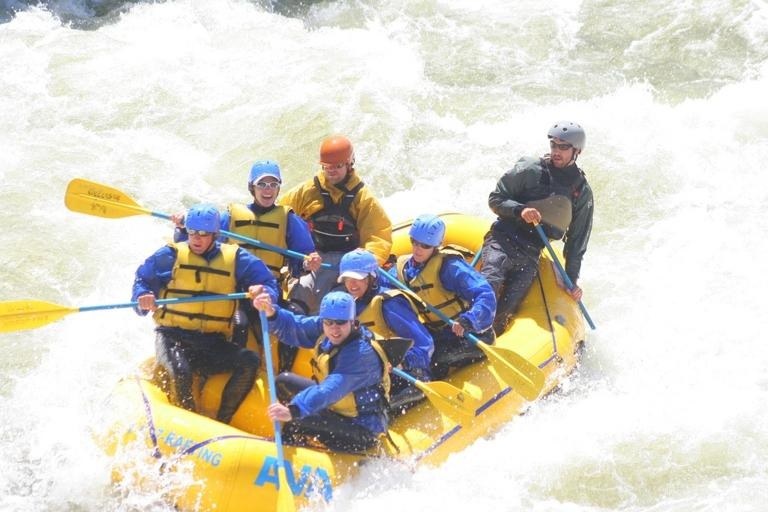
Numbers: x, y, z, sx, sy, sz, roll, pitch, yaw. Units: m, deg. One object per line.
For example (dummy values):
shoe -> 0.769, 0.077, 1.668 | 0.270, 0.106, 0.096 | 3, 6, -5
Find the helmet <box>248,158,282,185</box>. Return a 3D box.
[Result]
helmet -> -1.299, -0.911, 10.194 | 0.308, 0.435, 0.224 | 6, 83, -7

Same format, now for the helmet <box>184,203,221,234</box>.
helmet -> -1.842, -0.310, 9.508 | 0.247, 0.335, 0.268 | 18, 55, 6

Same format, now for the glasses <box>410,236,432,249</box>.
glasses -> 0.390, -0.124, 9.661 | 0.133, 0.036, 0.133 | 8, 99, 25

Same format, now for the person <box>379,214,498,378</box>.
person -> 0.375, 0.340, 9.862 | 1.536, 0.986, 1.511 | 6, 110, 20

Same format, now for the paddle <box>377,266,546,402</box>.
paddle -> 0.732, 0.851, 9.606 | 2.123, 0.179, 0.305 | 38, 107, 14

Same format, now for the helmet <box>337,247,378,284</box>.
helmet -> -0.299, 0.027, 9.165 | 0.253, 0.360, 0.198 | 20, 73, 0

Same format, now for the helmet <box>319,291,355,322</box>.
helmet -> -0.441, 0.506, 8.967 | 0.316, 0.389, 0.282 | -1, 75, 3

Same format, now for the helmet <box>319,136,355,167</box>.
helmet -> -0.539, -1.139, 10.310 | 0.368, 0.205, 0.332 | -9, 75, 1

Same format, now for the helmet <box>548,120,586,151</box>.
helmet -> 2.031, -1.338, 10.354 | 0.280, 0.391, 0.298 | 41, 119, 52

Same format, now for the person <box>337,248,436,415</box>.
person -> 0.116, 0.730, 9.439 | 1.131, 0.598, 1.525 | 8, 108, 31

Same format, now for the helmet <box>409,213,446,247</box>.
helmet -> 0.490, -0.238, 9.747 | 0.274, 0.364, 0.321 | 28, 91, 17

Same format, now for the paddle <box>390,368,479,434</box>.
paddle -> 0.542, 1.382, 9.321 | 0.815, 0.397, 0.285 | 28, 79, 10

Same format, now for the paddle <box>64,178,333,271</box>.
paddle -> -2.184, -0.309, 10.784 | 3.637, 0.157, 0.506 | 17, 86, 5
